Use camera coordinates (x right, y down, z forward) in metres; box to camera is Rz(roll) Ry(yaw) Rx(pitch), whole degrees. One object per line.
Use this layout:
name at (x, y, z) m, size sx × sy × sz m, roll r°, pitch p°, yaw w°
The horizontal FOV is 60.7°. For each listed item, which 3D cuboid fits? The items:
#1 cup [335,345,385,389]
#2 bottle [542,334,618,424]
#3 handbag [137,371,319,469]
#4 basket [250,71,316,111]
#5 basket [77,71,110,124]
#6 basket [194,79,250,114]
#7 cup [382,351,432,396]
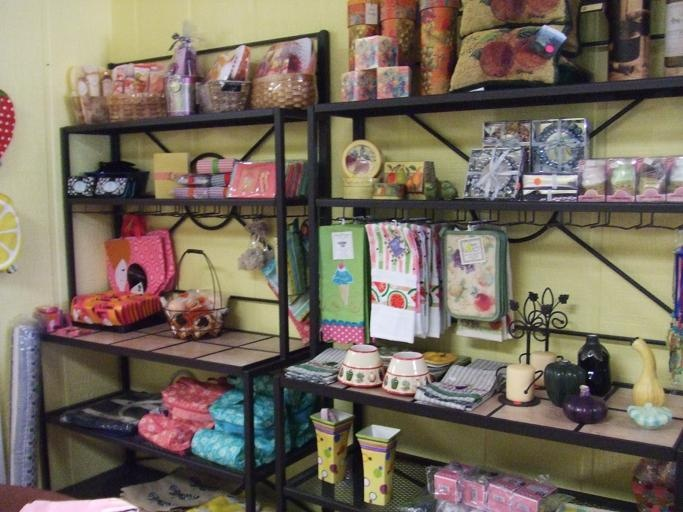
cup at (0.080, 0.436, 2.323) m, size 0.176 × 0.098 × 0.160 m, roll 1°, pitch 1°, yaw 0°
bottle at (0.828, 0.434, 2.019) m, size 0.307 × 0.266 × 0.202 m, roll 0°, pitch -6°, yaw 42°
handbag at (-0.609, 0.769, 2.728) m, size 0.612 × 0.174 × 0.588 m, roll 5°, pitch 5°, yaw 32°
basket at (-0.246, -0.740, 2.632) m, size 0.241 × 0.154 × 0.261 m, roll -12°, pitch 16°, yaw -33°
basket at (-1.320, -0.852, 3.165) m, size 0.214 × 0.275 × 0.101 m, roll -8°, pitch -3°, yaw -1°
basket at (-0.542, -0.730, 2.669) m, size 0.228 × 0.112 × 0.174 m, roll 0°, pitch 5°, yaw -4°
cup at (0.248, 0.447, 2.253) m, size 0.176 × 0.102 × 0.160 m, roll 0°, pitch 0°, yaw 0°
